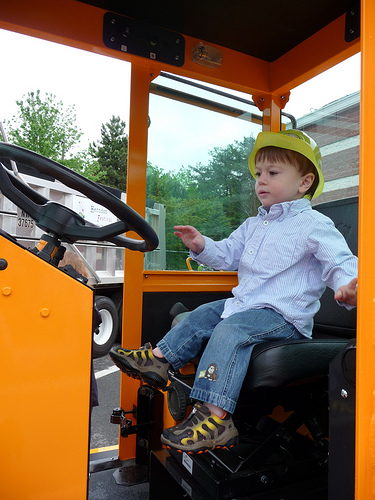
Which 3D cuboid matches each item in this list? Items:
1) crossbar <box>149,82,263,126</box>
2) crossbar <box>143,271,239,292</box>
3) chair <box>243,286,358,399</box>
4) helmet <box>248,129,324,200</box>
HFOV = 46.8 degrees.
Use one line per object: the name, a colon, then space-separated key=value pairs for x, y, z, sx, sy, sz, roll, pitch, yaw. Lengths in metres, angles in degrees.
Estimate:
crossbar: x=0.121 y=-0.738 z=2.171 sx=0.662 sy=0.096 sz=0.044 roll=2 pitch=-3 yaw=-28
crossbar: x=0.031 y=0.156 z=2.171 sx=0.563 sy=0.102 sz=0.046 roll=2 pitch=-3 yaw=-36
chair: x=0.306 y=0.314 z=1.298 sx=0.350 sy=0.313 sz=0.257 roll=-4 pitch=-4 yaw=-9
helmet: x=0.351 y=-0.331 z=1.578 sx=0.230 sy=0.135 sz=0.306 roll=7 pitch=-29 yaw=50
